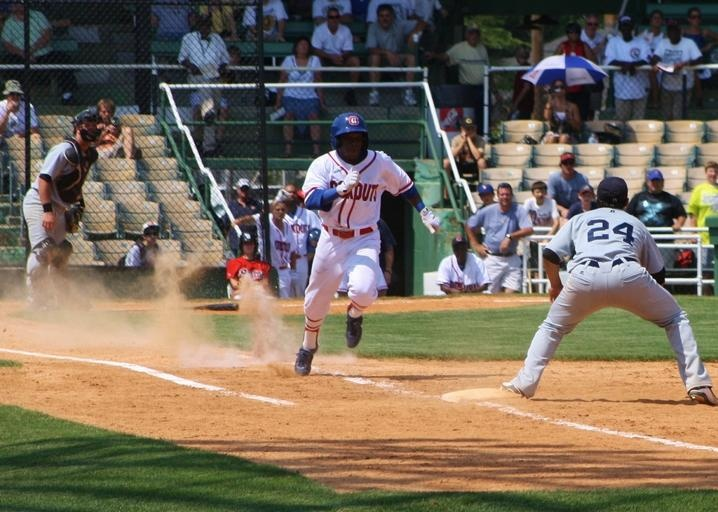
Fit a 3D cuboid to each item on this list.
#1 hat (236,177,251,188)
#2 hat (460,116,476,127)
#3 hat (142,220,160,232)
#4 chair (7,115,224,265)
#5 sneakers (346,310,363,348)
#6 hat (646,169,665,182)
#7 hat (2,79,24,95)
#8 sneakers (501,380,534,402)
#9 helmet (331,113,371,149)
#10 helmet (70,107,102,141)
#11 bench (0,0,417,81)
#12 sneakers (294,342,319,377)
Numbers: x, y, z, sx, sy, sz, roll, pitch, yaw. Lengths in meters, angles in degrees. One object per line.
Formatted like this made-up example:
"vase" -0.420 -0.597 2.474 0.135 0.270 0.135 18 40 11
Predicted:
"hat" -1.980 -1.195 29.300 0.194 0.249 0.214 -1 41 5
"hat" 2.014 -2.491 31.536 0.217 0.172 0.322 0 -1 -10
"hat" -3.411 -0.496 27.908 0.236 0.139 0.244 0 0 9
"chair" -3.974 -1.151 29.407 3.407 2.239 2.269 -1 13 -6
"sneakers" -0.074 1.005 23.314 0.173 0.523 0.200 0 18 0
"hat" 4.951 -1.358 28.650 0.218 0.181 0.325 2 3 6
"hat" -5.874 -2.866 29.065 0.349 0.250 0.488 -1 -3 -17
"sneakers" 2.026 1.724 22.162 0.479 0.210 0.176 31 6 19
"helmet" -0.164 -1.700 22.790 0.358 0.370 0.457 -2 11 -12
"helmet" -4.092 -2.000 25.823 0.403 0.467 0.637 -1 14 -9
"bench" -3.018 -3.977 31.658 11.568 0.835 0.844 -4 -4 -30
"sneakers" -0.731 1.370 23.201 0.172 0.230 0.535 3 42 5
